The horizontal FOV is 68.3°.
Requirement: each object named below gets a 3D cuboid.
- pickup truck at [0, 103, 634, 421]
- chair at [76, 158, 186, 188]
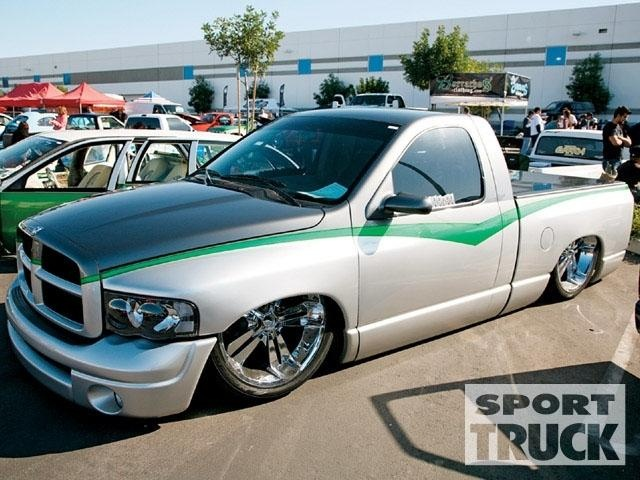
[{"bbox_3d":[0.241,0.042,3.861,4.340,1.259,2.251,-6,15,-34],"label":"pickup truck"},{"bbox_3d":[-2.377,-0.866,6.121,1.085,0.420,0.559,1,15,-9],"label":"chair"}]
